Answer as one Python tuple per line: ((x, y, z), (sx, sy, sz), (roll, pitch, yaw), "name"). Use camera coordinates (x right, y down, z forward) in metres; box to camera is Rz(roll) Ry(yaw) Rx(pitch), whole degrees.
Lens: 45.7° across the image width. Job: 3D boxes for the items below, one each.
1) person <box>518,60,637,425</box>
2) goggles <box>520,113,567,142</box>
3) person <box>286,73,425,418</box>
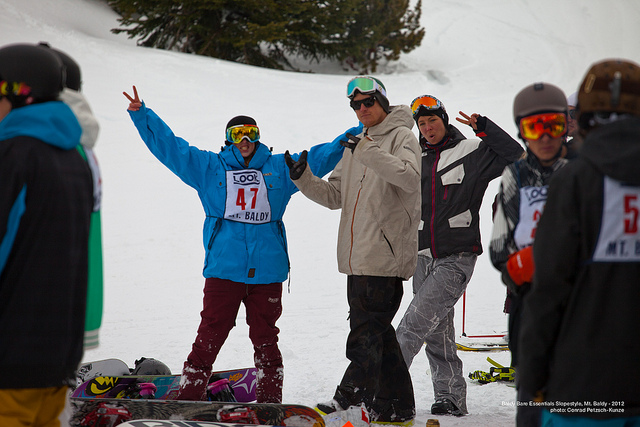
((1.464, 0.137, 4.271), (0.648, 2.019, 0.369), (0, -9, 14), "person")
((1.350, -0.515, 4.566), (0.267, 0.174, 0.080), (0, -9, 14), "goggles")
((0.344, 0.254, 5.963), (0.893, 2.652, 0.793), (1, -9, 7), "person")
